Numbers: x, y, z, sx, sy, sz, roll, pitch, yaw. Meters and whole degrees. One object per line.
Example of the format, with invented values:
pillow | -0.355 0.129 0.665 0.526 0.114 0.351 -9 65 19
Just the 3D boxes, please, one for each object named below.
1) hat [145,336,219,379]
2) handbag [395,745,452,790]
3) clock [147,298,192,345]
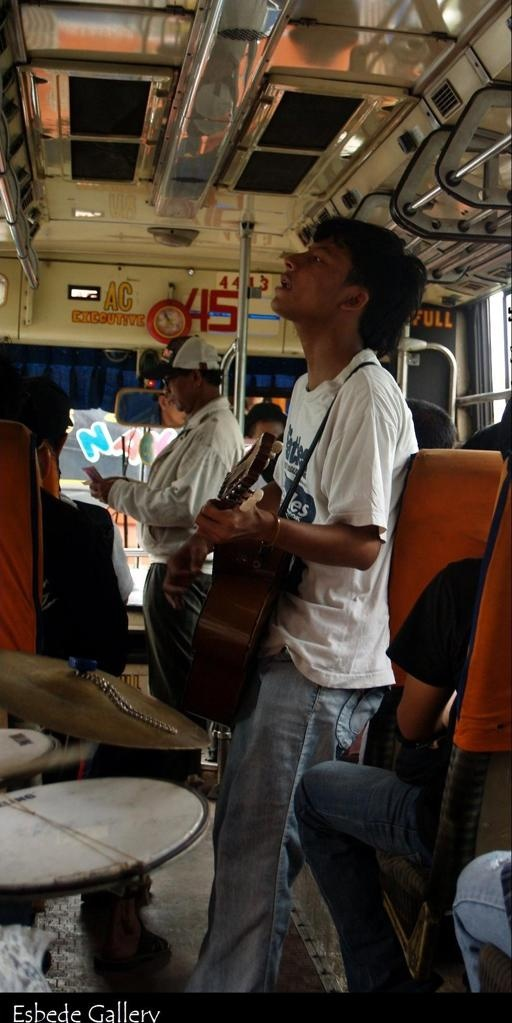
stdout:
hat | -0.399 -0.832 3.414 0.297 0.191 0.224 4 14 8
handbag | 0.305 0.473 1.186 0.077 0.098 0.084 12 -12 2
clock | -0.505 -1.111 3.660 0.245 0.290 0.084 20 9 11
